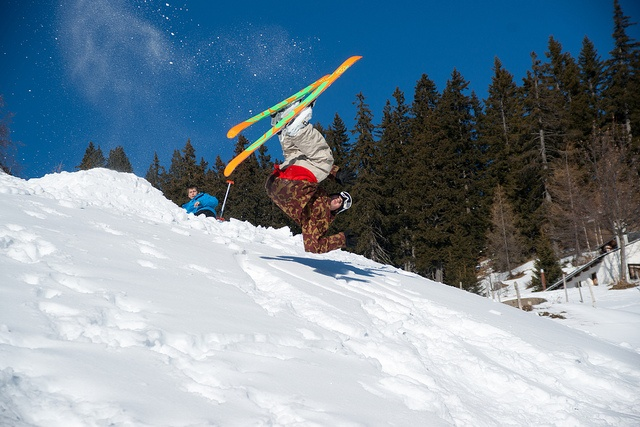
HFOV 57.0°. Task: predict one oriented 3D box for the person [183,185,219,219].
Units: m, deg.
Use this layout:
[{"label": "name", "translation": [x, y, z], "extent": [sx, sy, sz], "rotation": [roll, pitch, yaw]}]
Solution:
[{"label": "person", "translation": [-3.861, -0.379, 19.450], "extent": [1.026, 1.143, 1.368], "rotation": [15, -15, -40]}]
